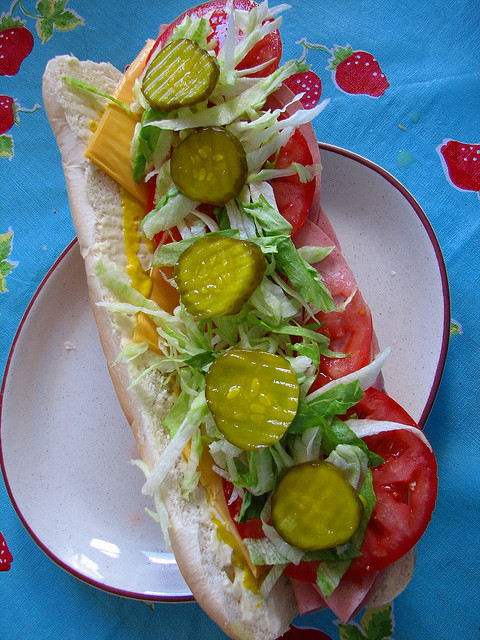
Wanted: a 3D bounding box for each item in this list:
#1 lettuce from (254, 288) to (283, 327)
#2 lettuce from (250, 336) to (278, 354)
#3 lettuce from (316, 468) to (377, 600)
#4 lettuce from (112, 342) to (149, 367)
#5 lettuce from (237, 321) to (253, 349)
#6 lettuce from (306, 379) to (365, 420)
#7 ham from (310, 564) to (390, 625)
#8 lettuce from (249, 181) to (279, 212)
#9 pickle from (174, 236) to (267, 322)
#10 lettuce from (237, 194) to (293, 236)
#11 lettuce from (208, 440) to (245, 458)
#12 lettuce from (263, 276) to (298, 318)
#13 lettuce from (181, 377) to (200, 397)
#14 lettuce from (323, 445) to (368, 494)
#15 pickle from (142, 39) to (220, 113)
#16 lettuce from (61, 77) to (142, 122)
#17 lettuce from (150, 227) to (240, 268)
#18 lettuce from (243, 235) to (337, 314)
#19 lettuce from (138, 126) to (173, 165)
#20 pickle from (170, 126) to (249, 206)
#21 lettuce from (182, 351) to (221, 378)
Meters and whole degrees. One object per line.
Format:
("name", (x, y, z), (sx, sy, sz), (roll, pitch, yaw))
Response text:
("lettuce", (0.061, -0.025, 1.216), (0.057, 0.023, 0.073), (-41, 69, 23))
("lettuce", (0.048, 0.045, 1.239), (0.043, 0.032, 0.016), (34, 49, 11))
("lettuce", (0.228, 0.428, 1.271), (0.139, 0.064, 0.255), (15, 100, 6))
("lettuce", (-0.238, 0.072, 1.344), (0.086, 0.020, 0.033), (-26, 65, -8))
("lettuce", (0.007, 0.031, 1.227), (0.015, 0.026, 0.051), (13, 46, 0))
("lettuce", (0.184, 0.174, 1.231), (0.150, 0.036, 0.049), (-30, 68, 14))
("ham", (0.244, 0.572, 1.273), (0.048, 0.147, 0.143), (48, 58, -22))
("lettuce", (0.051, -0.262, 1.250), (0.048, 0.015, 0.069), (-16, 77, -24))
("pickle", (-0.051, -0.081, 1.193), (0.169, 0.056, 0.162), (5, 87, 25))
("lettuce", (0.051, -0.212, 1.224), (0.096, 0.029, 0.067), (33, 86, 22))
("lettuce", (-0.033, 0.253, 1.200), (0.046, 0.014, 0.046), (16, 32, 26))
("lettuce", (0.084, -0.042, 1.226), (0.042, 0.027, 0.101), (-31, 87, -26))
("lettuce", (-0.104, 0.138, 1.249), (0.031, 0.040, 0.015), (-4, 29, 26))
("lettuce", (0.223, 0.284, 1.179), (0.062, 0.065, 0.105), (-43, 82, -3))
("pickle", (-0.123, -0.508, 1.262), (0.163, 0.043, 0.154), (0, 81, 23))
("lettuce", (-0.330, -0.514, 1.421), (0.187, 0.032, 0.027), (37, 59, 0))
("lettuce", (-0.121, -0.149, 1.240), (0.069, 0.239, 0.029), (-3, 83, -35))
("lettuce", (0.077, -0.123, 1.288), (0.122, 0.418, 0.067), (4, 92, -11))
("lettuce", (-0.186, -0.374, 1.297), (0.069, 0.068, 0.025), (3, 32, -1))
("pickle", (-0.063, -0.314, 1.240), (0.155, 0.065, 0.159), (-30, 81, -2))
("lettuce", (-0.081, 0.090, 1.236), (0.056, 0.020, 0.051), (15, 87, -24))
